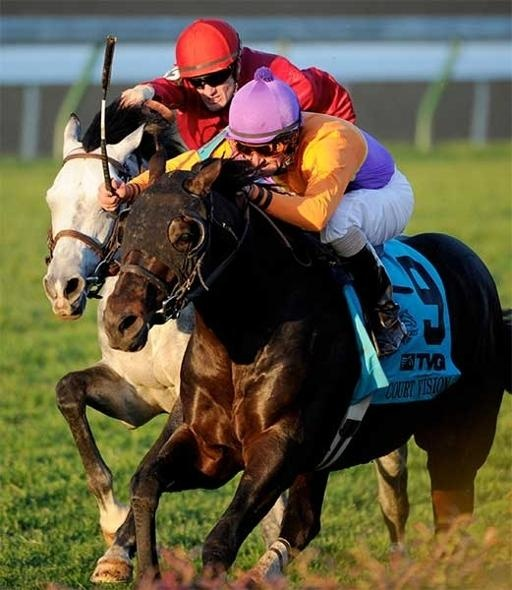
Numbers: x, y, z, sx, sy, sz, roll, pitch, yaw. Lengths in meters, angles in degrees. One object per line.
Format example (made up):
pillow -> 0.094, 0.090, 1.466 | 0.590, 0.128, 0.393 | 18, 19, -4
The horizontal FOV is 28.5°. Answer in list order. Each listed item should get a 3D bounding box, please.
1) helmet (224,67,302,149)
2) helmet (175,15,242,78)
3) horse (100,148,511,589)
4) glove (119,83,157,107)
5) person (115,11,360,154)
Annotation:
helmet -> 0.059, -0.598, 3.131 | 0.225, 0.172, 0.273 | 8, 29, 24
helmet -> -0.209, -1.011, 3.953 | 0.260, 0.162, 0.320 | 6, 41, 27
horse -> -0.048, 0.534, 4.510 | 0.610, 1.575, 2.513 | -19, -26, 28
glove -> -0.472, -0.840, 4.100 | 0.093, 0.043, 0.127 | -1, 28, 27
person -> -0.123, -0.854, 4.156 | 0.708, 0.314, 0.889 | -9, -1, 15
